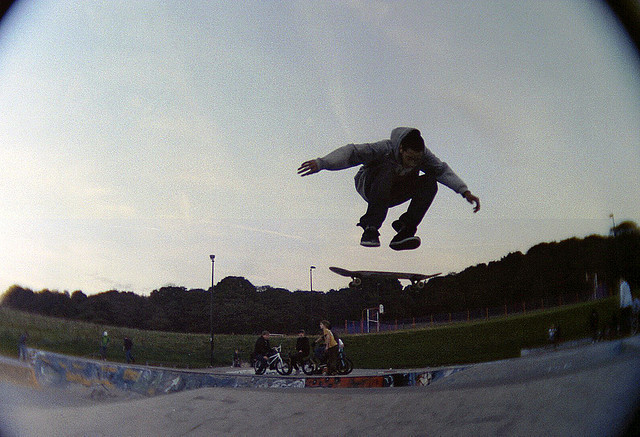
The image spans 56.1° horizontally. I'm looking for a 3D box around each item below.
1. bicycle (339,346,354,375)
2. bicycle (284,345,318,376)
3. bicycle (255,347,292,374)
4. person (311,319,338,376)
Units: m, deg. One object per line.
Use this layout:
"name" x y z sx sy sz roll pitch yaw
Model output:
"bicycle" 0.824 4.395 18.570 0.392 0.823 0.651 -2 -13 11
"bicycle" -0.553 4.500 18.452 0.858 0.616 0.530 -6 -13 5
"bicycle" -1.351 4.504 18.512 0.823 0.573 0.529 -7 -14 8
"person" 0.150 3.954 18.213 0.739 1.677 0.695 3 -7 -5
